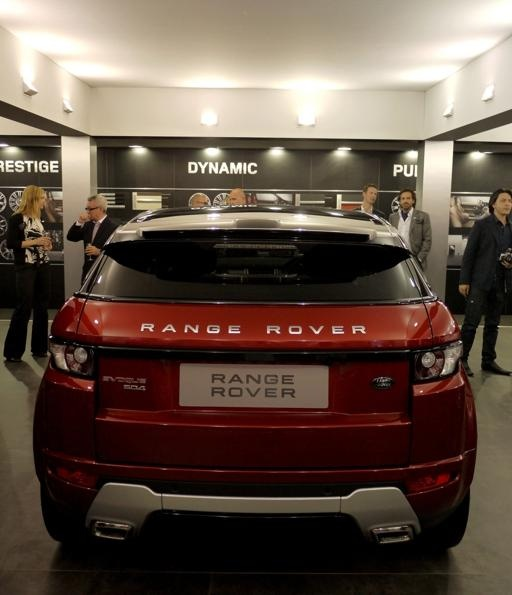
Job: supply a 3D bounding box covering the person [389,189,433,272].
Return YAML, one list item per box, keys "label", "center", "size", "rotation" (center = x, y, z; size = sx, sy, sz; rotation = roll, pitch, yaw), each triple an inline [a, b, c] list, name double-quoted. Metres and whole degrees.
- label: "person"
  center: [2.525, -0.844, 7.700]
  size: [0.692, 1.859, 0.657]
  rotation: [2, 11, 35]

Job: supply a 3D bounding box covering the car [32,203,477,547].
- label: "car"
  center: [0.055, 0.362, 2.302]
  size: [1.345, 0.923, 2.187]
  rotation: [0, -5, 5]
